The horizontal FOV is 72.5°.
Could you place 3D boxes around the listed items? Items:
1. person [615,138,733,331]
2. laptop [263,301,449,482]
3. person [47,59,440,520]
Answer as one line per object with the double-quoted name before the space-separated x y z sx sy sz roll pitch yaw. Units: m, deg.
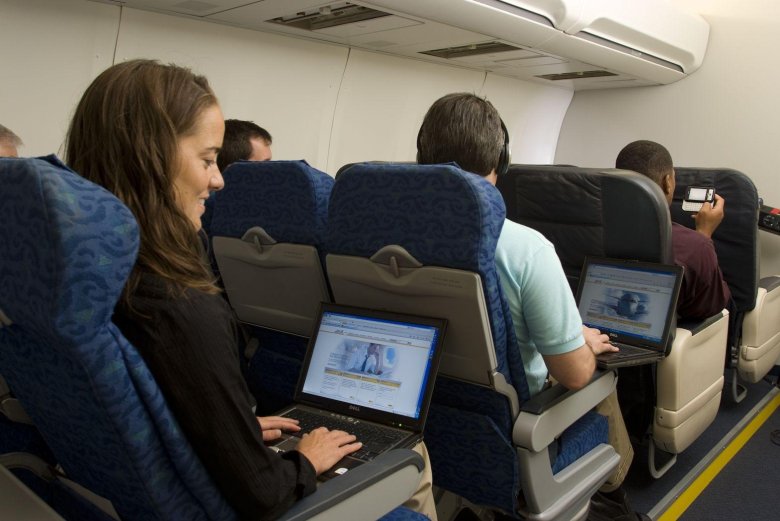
"person" 1.456 -0.176 2.874 0.572 1.006 0.544 8 33 46
"laptop" -0.058 0.361 1.750 0.430 0.485 0.301 11 5 29
"person" -0.453 0.000 1.709 0.732 1.230 0.985 6 10 43
